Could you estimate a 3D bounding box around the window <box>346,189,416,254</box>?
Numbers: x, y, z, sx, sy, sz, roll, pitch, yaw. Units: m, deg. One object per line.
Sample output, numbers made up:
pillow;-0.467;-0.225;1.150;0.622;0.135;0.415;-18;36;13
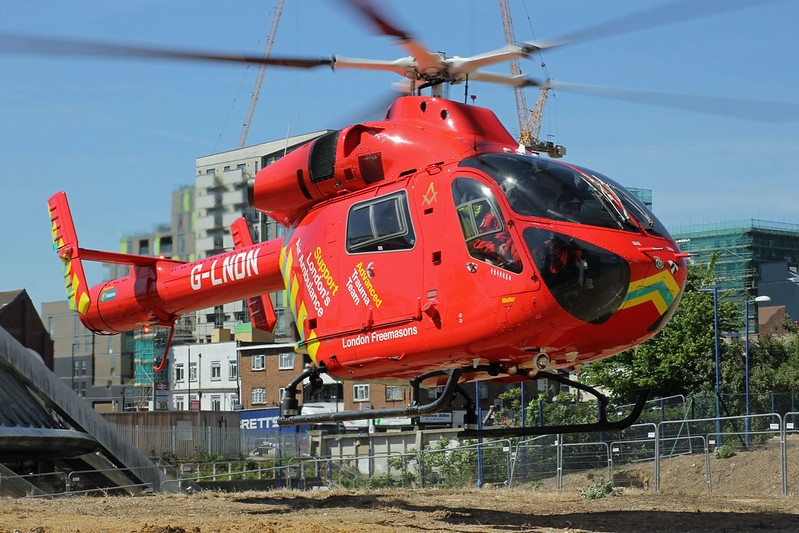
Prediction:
window;-0.632;-1.599;59.366;2.946;1.651;0.179;-5;-10;29
